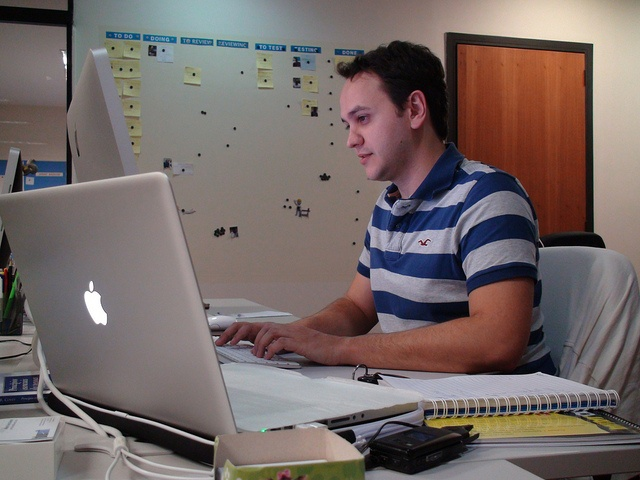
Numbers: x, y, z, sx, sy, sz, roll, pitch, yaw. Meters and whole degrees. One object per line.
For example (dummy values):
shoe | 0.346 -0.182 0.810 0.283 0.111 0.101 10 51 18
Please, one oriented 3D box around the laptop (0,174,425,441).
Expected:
laptop | -0.198 0.089 0.724 0.346 0.317 0.468 -2 -2 -37

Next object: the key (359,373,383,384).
key | 0.091 0.241 0.888 0.026 0.010 0.020 -2 4 5

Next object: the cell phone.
cell phone | 0.128 0.259 0.662 0.089 0.026 0.051 -5 3 -33

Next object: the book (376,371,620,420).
book | 0.295 0.247 0.811 0.187 0.031 0.170 -1 -3 -6

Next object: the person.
person | 0.117 -0.084 1.505 0.799 0.992 0.834 2 -12 -14
